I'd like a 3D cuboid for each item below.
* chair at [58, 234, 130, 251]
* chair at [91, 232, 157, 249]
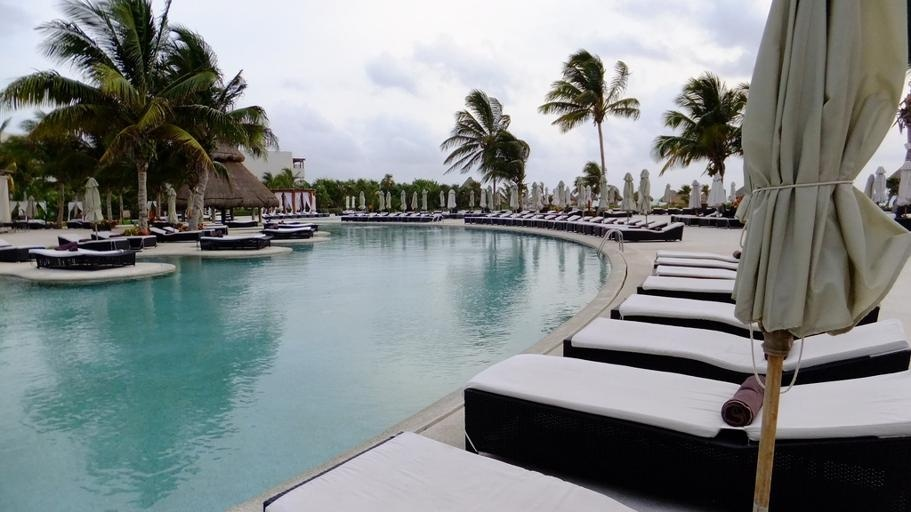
[{"bbox_3d":[-10.737,-0.394,16.292,1.339,0.385,0.788,-2,1,12],"label":"chair"},{"bbox_3d":[-11.500,-0.568,18.652,1.795,0.556,1.183,1,5,7],"label":"chair"}]
